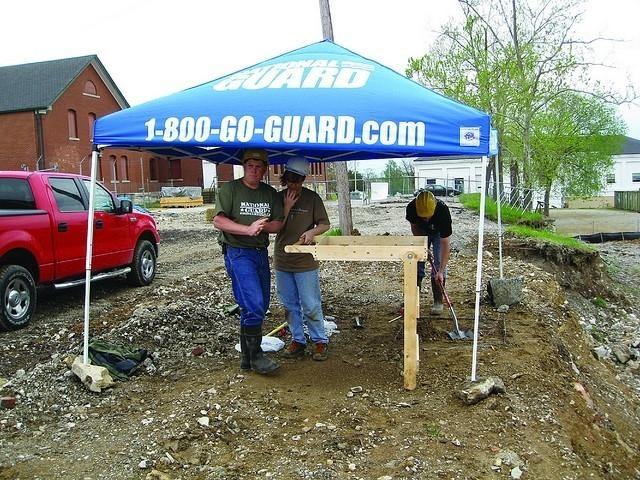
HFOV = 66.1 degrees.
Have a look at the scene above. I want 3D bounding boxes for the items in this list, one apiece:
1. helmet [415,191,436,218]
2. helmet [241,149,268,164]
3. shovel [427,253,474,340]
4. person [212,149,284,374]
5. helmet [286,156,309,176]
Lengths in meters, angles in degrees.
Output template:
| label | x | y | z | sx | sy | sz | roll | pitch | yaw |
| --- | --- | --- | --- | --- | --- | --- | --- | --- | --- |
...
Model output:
| label | x | y | z | sx | sy | sz | roll | pitch | yaw |
| --- | --- | --- | --- | --- | --- | --- | --- | --- | --- |
| helmet | 1.487 | -0.495 | 6.941 | 0.277 | 0.361 | 0.197 | -1 | -4 | 24 |
| helmet | -0.743 | -0.954 | 5.650 | 0.366 | 0.241 | 0.481 | 0 | 9 | -8 |
| shovel | 1.875 | 0.642 | 7.091 | 0.582 | 1.088 | 1.475 | 1 | 11 | 12 |
| person | -0.802 | 0.242 | 5.675 | 0.725 | 2.520 | 0.662 | 0 | 11 | 7 |
| helmet | -0.257 | -0.860 | 5.839 | 0.303 | 0.231 | 0.207 | -4 | 11 | -16 |
